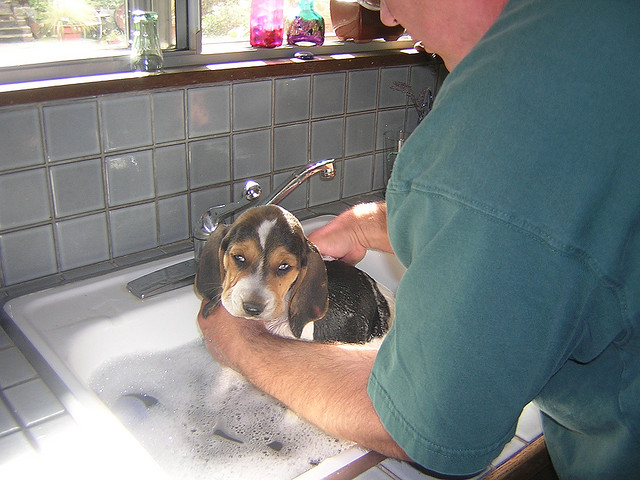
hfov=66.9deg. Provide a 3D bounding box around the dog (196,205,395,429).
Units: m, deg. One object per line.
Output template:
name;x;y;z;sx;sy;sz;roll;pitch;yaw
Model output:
dog;-0.045;0.065;0.952;0.308;0.356;0.440;3;17;44

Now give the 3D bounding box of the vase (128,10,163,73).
vase;-0.406;-0.451;1.104;0.075;0.126;0.100;-7;26;-19
